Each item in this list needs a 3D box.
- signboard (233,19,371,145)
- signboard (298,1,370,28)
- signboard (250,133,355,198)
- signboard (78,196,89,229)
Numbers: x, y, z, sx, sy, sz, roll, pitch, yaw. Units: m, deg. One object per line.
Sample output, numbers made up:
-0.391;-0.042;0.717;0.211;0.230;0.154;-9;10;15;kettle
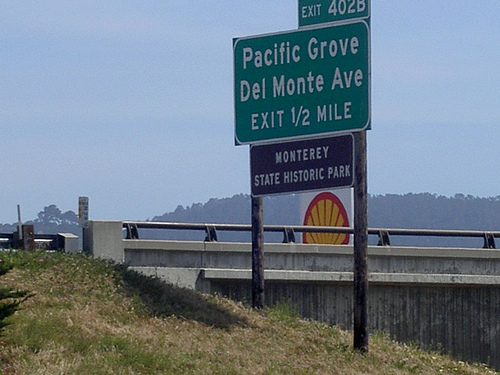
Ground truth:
1.783;-3.576;46.145;4.806;4.008;0.310;-2;-4;21;signboard
2.791;-5.966;45.845;2.531;0.927;0.205;-2;-5;27;signboard
1.779;-0.762;46.143;3.765;2.002;0.222;-2;-4;24;signboard
-6.157;0.936;49.469;0.365;1.186;1.044;0;-4;-5;signboard
